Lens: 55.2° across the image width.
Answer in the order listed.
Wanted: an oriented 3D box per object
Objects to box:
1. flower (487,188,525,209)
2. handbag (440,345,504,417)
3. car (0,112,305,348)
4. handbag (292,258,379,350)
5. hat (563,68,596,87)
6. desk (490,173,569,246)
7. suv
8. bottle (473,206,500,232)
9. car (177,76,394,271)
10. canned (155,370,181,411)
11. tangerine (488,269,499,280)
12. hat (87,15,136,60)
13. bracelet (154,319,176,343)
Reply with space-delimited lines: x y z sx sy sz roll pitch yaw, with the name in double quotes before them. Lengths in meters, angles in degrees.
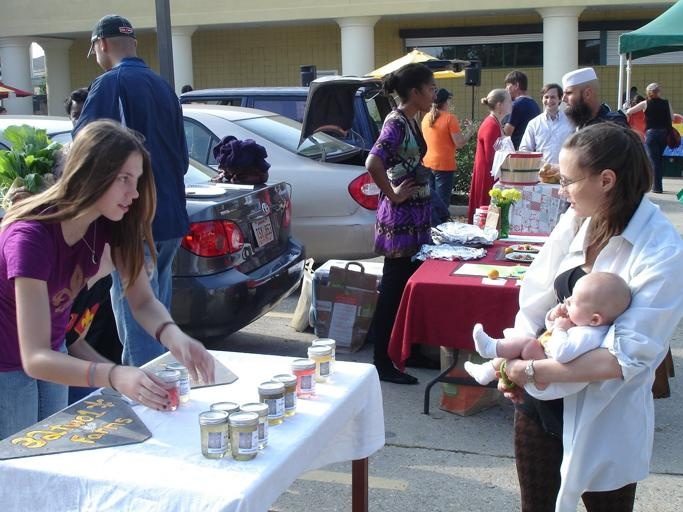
"flower" 1.323 -0.474 5.231 0.207 0.167 0.220 0 9 -5
"handbag" 0.844 0.860 4.597 0.347 0.501 0.349 -10 -9 27
"car" -1.628 -0.293 5.381 2.613 1.039 1.283 8 12 26
"handbag" 0.017 0.345 5.621 0.502 0.781 0.730 6 15 13
"hat" 2.158 -1.617 5.928 0.267 0.174 0.339 5 15 23
"desk" 2.107 -0.502 6.469 0.925 0.570 0.911 -9 7 -42
"suv" -0.639 -1.611 6.984 2.350 0.882 1.072 6 16 22
"bottle" 1.189 -0.303 5.329 0.063 0.176 0.188 -12 21 -32
"car" -0.327 -0.935 6.741 2.484 1.268 1.450 6 12 25
"canned" -0.670 0.517 2.511 0.105 0.126 0.106 1 3 44
"tangerine" 0.982 0.107 4.233 0.047 0.067 0.052 15 33 -1
"hat" -1.577 -1.499 4.381 0.356 0.205 0.258 -22 9 -20
"bracelet" -0.769 0.324 2.829 0.081 0.084 0.022 -30 -29 21
